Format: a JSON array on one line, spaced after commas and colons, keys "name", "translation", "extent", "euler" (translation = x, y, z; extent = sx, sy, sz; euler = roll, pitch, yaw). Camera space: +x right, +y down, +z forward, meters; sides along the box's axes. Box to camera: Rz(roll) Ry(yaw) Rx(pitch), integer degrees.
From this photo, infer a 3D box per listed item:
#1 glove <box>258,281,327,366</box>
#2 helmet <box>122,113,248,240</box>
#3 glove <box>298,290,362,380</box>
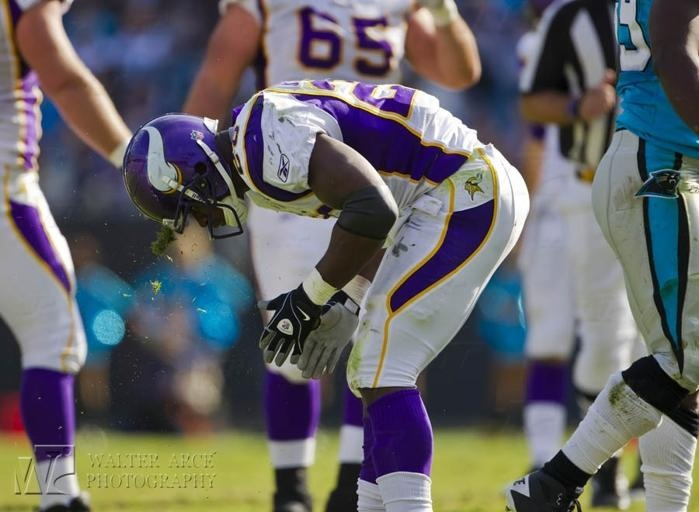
[{"name": "glove", "translation": [-0.211, 0.239, 3.987], "extent": [0.202, 0.294, 0.105], "euler": [28, 5, -8]}, {"name": "helmet", "translation": [-0.592, -0.327, 4.227], "extent": [0.410, 0.500, 0.361], "euler": [34, -1, -4]}, {"name": "glove", "translation": [-0.070, 0.320, 4.132], "extent": [0.177, 0.340, 0.088], "euler": [34, -5, -39]}]
